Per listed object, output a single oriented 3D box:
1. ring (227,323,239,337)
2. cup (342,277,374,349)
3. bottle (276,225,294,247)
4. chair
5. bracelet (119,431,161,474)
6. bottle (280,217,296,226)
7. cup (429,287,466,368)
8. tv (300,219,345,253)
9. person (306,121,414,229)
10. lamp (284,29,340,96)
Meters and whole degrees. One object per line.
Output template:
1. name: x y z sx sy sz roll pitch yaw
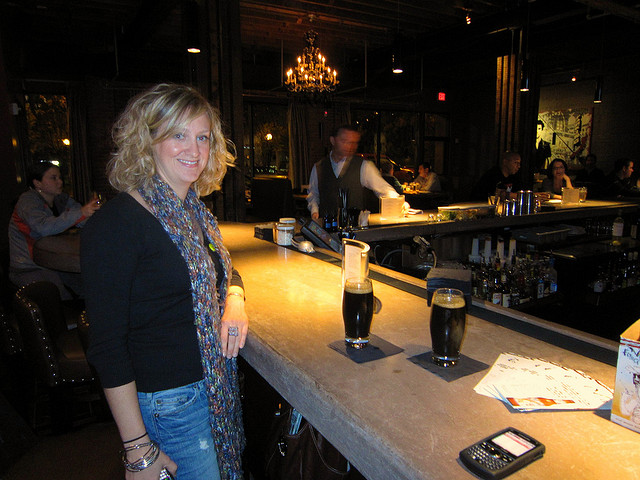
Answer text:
1. ring: -0.324 0.339 1.825 0.043 0.017 0.048 6 62 -10
2. cup: 0.131 0.259 1.662 0.096 0.230 0.063 0 13 1
3. bottle: -0.226 -0.023 3.182 0.120 0.136 0.124 0 3 -5
4. chair: -1.501 0.683 2.957 0.452 0.782 0.536 -5 15 -22
5. bracelet: -0.596 0.706 1.611 0.109 0.056 0.127 5 35 1
6. bottle: -0.213 -0.122 3.185 0.077 0.051 0.077 0 2 0
7. cup: 0.420 0.275 1.590 0.112 0.249 0.119 0 13 0
8. tv: 0.051 -0.035 3.042 0.317 0.163 0.168 10 17 39
9. person: 0.339 -0.549 4.184 0.854 0.834 1.954 -1 13 -2
10. lamp: -0.144 -3.169 8.618 0.907 1.261 0.863 -5 12 -15
